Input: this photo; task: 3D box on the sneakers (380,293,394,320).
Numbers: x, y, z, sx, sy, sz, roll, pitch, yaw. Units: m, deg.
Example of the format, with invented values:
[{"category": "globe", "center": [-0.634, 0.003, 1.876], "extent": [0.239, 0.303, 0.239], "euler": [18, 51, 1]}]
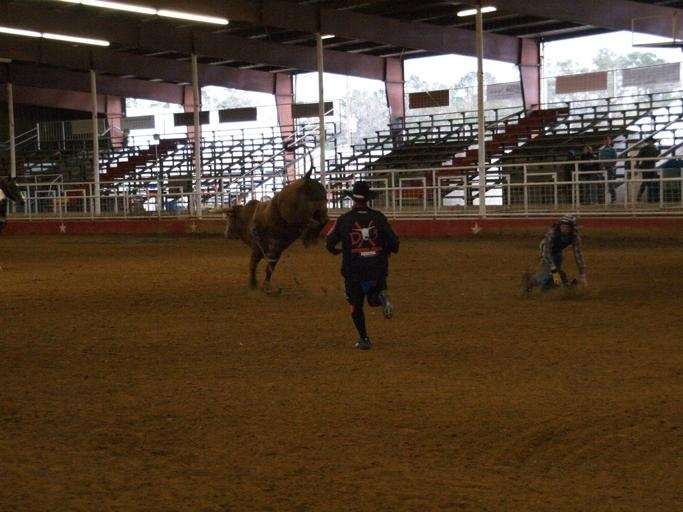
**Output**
[{"category": "sneakers", "center": [0.461, 0.520, 8.379], "extent": [0.124, 0.304, 0.154], "euler": [-7, -14, -10]}]

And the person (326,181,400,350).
[{"category": "person", "center": [0.212, 0.087, 8.500], "extent": [0.761, 1.765, 0.490], "euler": [-1, 9, 3]}]

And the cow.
[{"category": "cow", "center": [-0.932, -0.334, 11.681], "extent": [1.093, 1.325, 2.535], "euler": [3, -16, -38]}]

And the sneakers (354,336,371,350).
[{"category": "sneakers", "center": [0.224, 0.929, 8.535], "extent": [0.081, 0.090, 0.225], "euler": [-1, 7, -8]}]

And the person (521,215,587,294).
[{"category": "person", "center": [3.059, -0.077, 11.521], "extent": [0.832, 1.166, 1.680], "euler": [1, 9, 13]}]

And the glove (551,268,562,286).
[{"category": "glove", "center": [2.920, 0.287, 10.875], "extent": [0.176, 0.059, 0.213], "euler": [-10, 39, 17]}]
